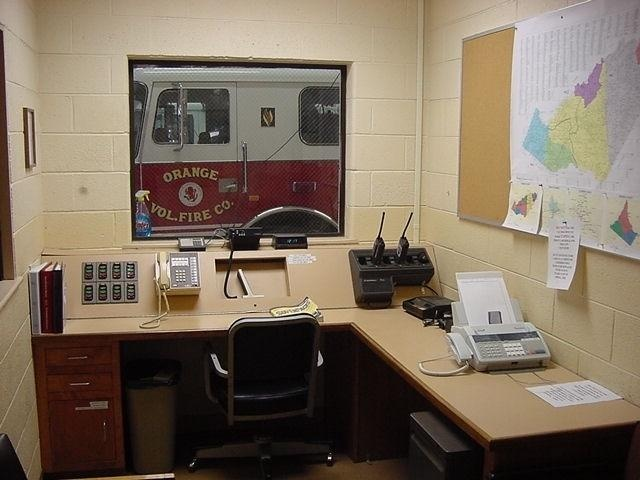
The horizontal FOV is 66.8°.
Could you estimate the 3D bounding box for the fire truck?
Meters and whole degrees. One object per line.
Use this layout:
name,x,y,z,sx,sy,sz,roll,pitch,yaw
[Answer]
fire truck,-0.414,-0.567,3.951,1.811,1.351,1.188,2,2,22

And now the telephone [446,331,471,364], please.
telephone,0.688,0.527,2.407,0.079,0.056,0.150,-3,34,-13

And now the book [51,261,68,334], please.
book,-1.511,0.354,2.813,0.061,0.280,0.259,-1,4,-14

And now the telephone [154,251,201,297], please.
telephone,-0.925,0.223,3.160,0.273,0.248,0.185,-2,12,-15

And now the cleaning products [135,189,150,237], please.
cleaning products,-1.261,-0.181,3.446,0.111,0.333,0.063,0,11,-4
